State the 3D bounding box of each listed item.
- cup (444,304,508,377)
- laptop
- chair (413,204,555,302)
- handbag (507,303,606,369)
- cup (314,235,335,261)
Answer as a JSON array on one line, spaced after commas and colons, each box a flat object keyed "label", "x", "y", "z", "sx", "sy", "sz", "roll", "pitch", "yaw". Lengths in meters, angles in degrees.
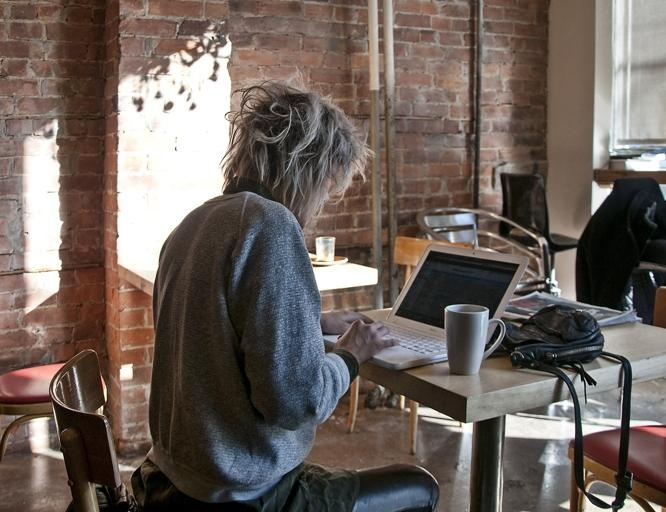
[{"label": "cup", "x": 0.371, "y": 0.205, "z": 1.624, "sx": 0.089, "sy": 0.168, "sz": 0.205, "roll": 4, "pitch": 6, "yaw": 45}, {"label": "laptop", "x": 0.301, "y": 0.101, "z": 1.794, "sx": 0.407, "sy": 0.262, "sz": 0.386, "roll": 3, "pitch": 3, "yaw": -34}, {"label": "chair", "x": 0.973, "y": -0.109, "z": 3.849, "sx": 0.643, "sy": 0.910, "sz": 0.641, "roll": 1, "pitch": 4, "yaw": 32}, {"label": "handbag", "x": 0.572, "y": 0.205, "z": 1.667, "sx": 0.188, "sy": 0.096, "sz": 0.160, "roll": -5, "pitch": 12, "yaw": -6}, {"label": "cup", "x": -0.037, "y": -0.036, "z": 3.070, "sx": 0.103, "sy": 0.117, "sz": 0.105, "roll": 1, "pitch": 1, "yaw": 0}]
